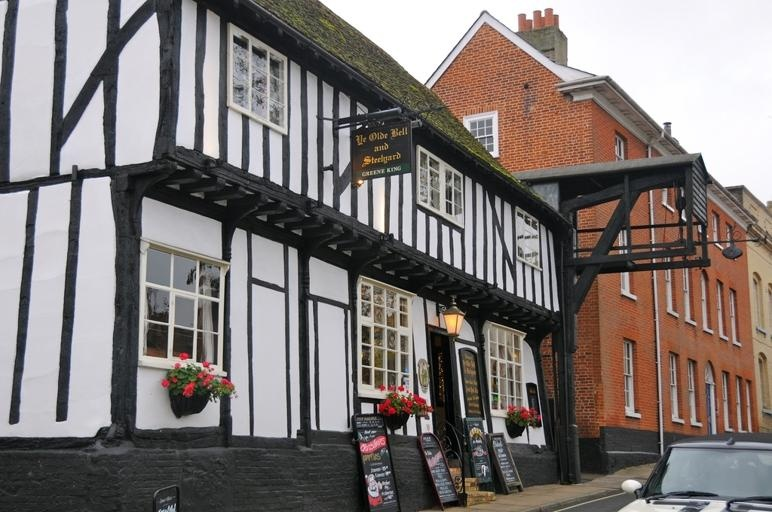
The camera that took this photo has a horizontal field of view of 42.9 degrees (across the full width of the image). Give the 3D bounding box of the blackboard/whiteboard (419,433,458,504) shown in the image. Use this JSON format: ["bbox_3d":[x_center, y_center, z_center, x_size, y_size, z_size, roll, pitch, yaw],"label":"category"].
[{"bbox_3d":[1.085,4.480,20.719,0.399,1.565,0.830,-13,-21,22],"label":"blackboard/whiteboard"}]

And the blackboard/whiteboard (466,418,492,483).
[{"bbox_3d":[2.085,4.467,22.369,0.199,1.551,1.159,-20,-22,24],"label":"blackboard/whiteboard"}]

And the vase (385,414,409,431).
[{"bbox_3d":[0.218,3.355,20.052,0.386,0.296,0.391,2,-11,-8],"label":"vase"}]

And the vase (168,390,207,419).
[{"bbox_3d":[-3.227,2.430,16.089,0.463,0.340,0.449,-11,-19,34],"label":"vase"}]

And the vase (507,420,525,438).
[{"bbox_3d":[3.193,4.331,24.533,0.502,0.416,0.403,12,-19,-34],"label":"vase"}]

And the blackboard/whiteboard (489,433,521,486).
[{"bbox_3d":[2.814,4.859,23.235,0.213,1.406,1.193,-15,-22,26],"label":"blackboard/whiteboard"}]

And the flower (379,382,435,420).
[{"bbox_3d":[0.566,3.186,20.426,1.019,0.620,0.881,8,-6,-35],"label":"flower"}]

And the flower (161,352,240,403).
[{"bbox_3d":[-3.072,2.017,16.480,1.144,0.625,0.971,12,-2,13],"label":"flower"}]
